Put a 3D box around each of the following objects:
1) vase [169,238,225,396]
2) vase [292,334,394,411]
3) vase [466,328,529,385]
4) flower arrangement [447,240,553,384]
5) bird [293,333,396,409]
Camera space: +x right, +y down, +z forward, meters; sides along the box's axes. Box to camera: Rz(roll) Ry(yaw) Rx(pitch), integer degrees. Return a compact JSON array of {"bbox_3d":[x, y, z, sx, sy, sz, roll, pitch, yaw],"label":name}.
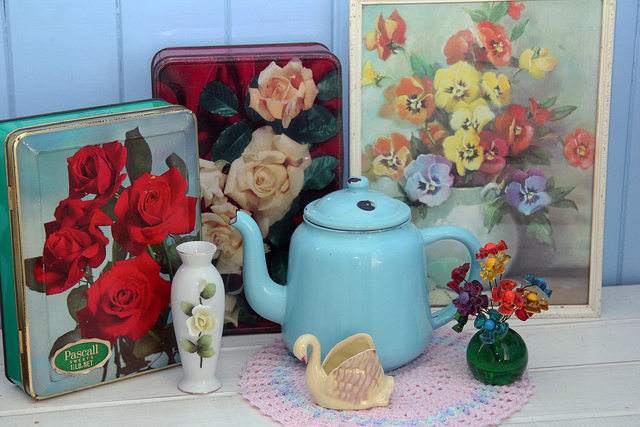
[{"bbox_3d":[-0.207,0.188,0.962,0.095,0.249,0.044,-7,12,-13],"label":"vase"},{"bbox_3d":[0.040,0.262,0.978,0.157,0.108,0.112,-1,3,-7],"label":"vase"},{"bbox_3d":[0.298,0.234,1.014,0.100,0.144,0.099,-3,6,-9],"label":"vase"},{"bbox_3d":[0.289,0.149,1.069,0.248,0.326,0.218,-1,3,24],"label":"flower arrangement"},{"bbox_3d":[0.040,0.260,0.975,0.163,0.112,0.104,-1,9,-1],"label":"bird"}]
